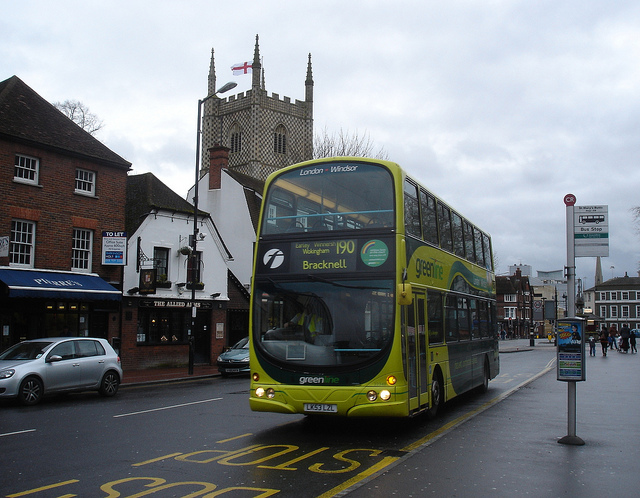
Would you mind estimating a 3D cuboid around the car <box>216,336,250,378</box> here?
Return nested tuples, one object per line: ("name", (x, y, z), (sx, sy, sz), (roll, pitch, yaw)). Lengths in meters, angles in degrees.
("car", (-3.705, 4.686, 26.359), (1.305, 1.607, 1.731), (0, -7, -9))

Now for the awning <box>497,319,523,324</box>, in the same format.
("awning", (36.572, 13.625, 116.613), (2.204, 0.861, 7.985), (-8, -11, 42))

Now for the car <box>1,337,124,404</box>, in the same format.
("car", (-7.758, 3.506, 18.160), (0.943, 1.819, 3.701), (-5, -9, 35))

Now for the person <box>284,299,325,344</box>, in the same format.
("person", (-0.267, 1.410, 12.042), (0.742, 1.018, 0.197), (-2, -6, 20))
